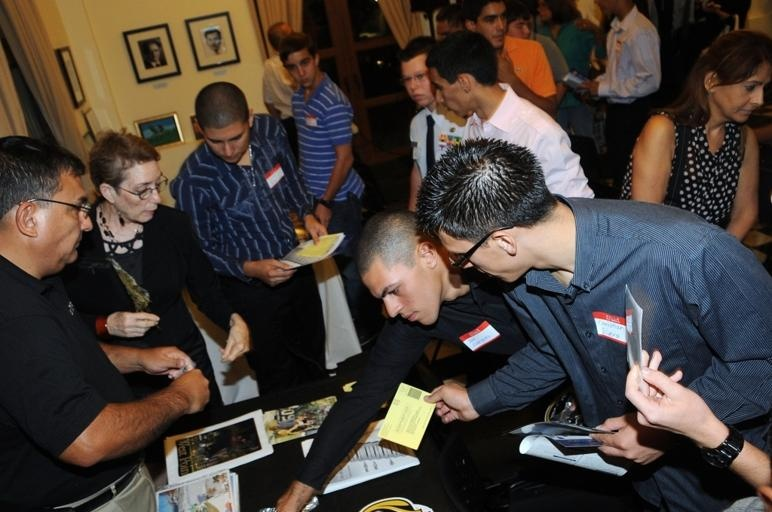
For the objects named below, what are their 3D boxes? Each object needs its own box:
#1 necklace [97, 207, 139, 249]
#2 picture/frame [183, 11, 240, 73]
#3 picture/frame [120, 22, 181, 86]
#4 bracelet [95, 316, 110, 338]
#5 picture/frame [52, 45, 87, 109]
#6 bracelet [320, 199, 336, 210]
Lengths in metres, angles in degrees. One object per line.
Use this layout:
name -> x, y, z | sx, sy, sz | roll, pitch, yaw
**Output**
necklace -> -1.389, -0.125, 2.860 | 0.160, 0.234, 0.073 | -11, 3, -20
picture/frame -> -1.978, -2.410, 6.151 | 0.557, 0.636, 0.043 | -21, 22, -22
picture/frame -> -2.576, -2.216, 5.963 | 0.518, 0.627, 0.031 | -20, 26, -16
bracelet -> -1.411, 0.354, 2.732 | 0.077, 0.071, 0.098 | 1, 31, -18
picture/frame -> -3.037, -1.725, 5.327 | 0.122, 0.552, 0.606 | -15, 24, -21
bracelet -> -0.444, -0.398, 4.197 | 0.095, 0.065, 0.089 | -6, 30, -33
